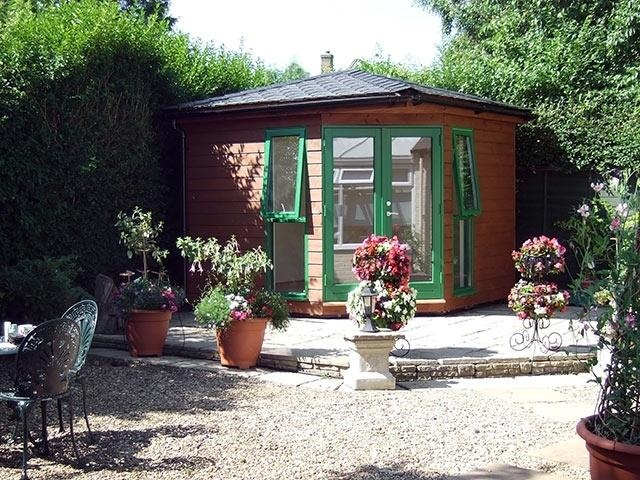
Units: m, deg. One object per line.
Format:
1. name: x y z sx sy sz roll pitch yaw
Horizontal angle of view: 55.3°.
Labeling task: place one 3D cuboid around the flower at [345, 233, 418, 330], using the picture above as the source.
1. flower: 0.767 0.529 7.609 0.970 1.616 0.989 1 -5 -4

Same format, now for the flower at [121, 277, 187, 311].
1. flower: -2.281 0.755 8.289 0.535 0.368 0.550 4 2 15

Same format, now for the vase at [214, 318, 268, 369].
1. vase: -1.009 1.259 7.648 0.583 0.521 0.629 0 0 -6

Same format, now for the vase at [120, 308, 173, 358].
1. vase: -2.324 1.219 8.187 0.551 0.514 0.619 0 -4 -1

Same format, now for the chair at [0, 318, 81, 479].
1. chair: -2.404 1.289 5.252 0.643 1.437 0.906 -1 0 -25
